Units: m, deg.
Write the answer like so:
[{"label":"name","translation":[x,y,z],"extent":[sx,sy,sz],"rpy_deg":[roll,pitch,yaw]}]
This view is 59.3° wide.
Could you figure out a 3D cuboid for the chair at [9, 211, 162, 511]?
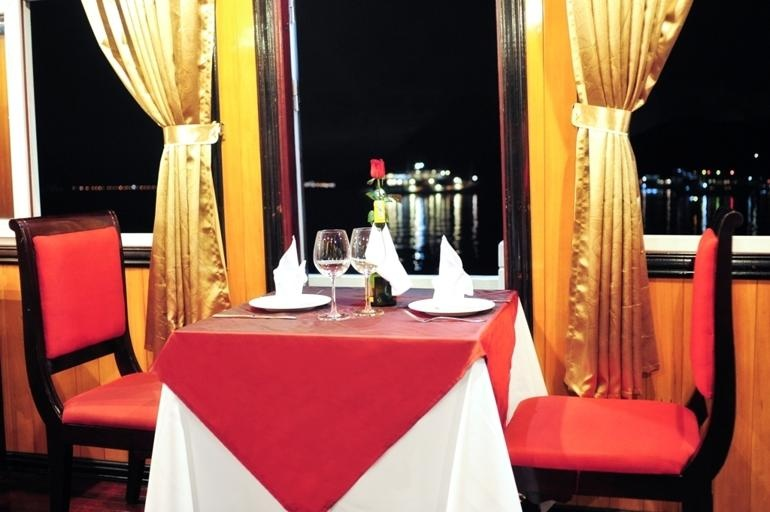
[{"label":"chair","translation":[-1.359,0.578,3.199],"extent":[0.570,1.554,0.624],"rpy_deg":[-6,7,-44]}]

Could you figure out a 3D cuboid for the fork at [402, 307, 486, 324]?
[{"label":"fork","translation":[0.258,0.250,2.807],"extent":[0.287,0.061,0.047],"rpy_deg":[1,2,12]}]
